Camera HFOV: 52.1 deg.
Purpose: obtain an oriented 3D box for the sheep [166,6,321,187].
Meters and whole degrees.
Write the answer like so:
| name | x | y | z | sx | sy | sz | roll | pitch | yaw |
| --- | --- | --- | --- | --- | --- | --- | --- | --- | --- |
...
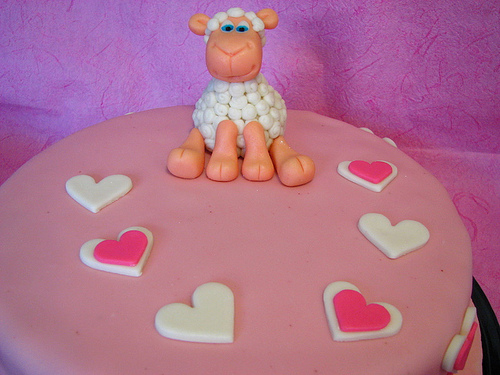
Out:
| name | x | y | z | sx | sy | sz | roll | pitch | yaw |
| --- | --- | --- | --- | --- | --- | --- | --- | --- | --- |
| sheep | -0.023 | -0.246 | 1.619 | 0.499 | 0.556 | 0.491 | 0 | 38 | 0 |
